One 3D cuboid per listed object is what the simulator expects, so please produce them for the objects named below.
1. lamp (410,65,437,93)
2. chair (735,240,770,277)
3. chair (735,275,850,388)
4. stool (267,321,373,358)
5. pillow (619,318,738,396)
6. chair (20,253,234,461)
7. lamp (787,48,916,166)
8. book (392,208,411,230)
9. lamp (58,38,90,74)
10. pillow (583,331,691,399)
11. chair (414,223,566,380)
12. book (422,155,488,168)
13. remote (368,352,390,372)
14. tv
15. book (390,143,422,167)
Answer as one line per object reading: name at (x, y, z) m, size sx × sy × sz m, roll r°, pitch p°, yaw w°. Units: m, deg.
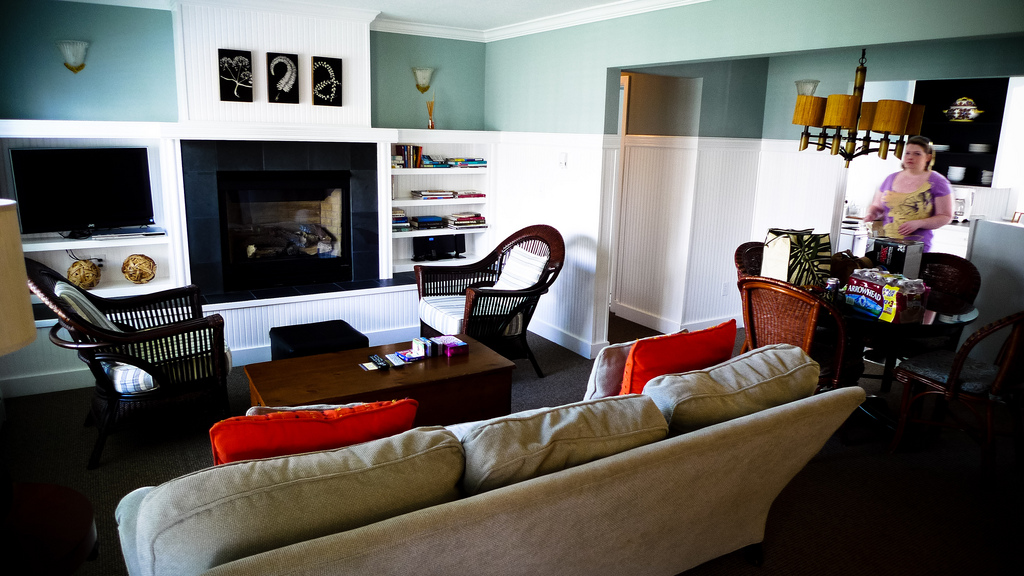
lamp at (-0.967, -2.270, 6.818) m, size 0.270 × 0.225 × 0.254 m, roll 0°, pitch 12°, yaw 13°
chair at (2.095, -0.268, 5.560) m, size 0.380 × 0.360 × 0.315 m, roll 3°, pitch 5°, yaw 25°
chair at (2.046, 0.297, 4.535) m, size 0.701 × 0.800 × 0.668 m, roll -16°, pitch 23°, yaw -35°
stool at (-1.690, 0.418, 5.365) m, size 0.486 × 0.321 × 0.476 m, roll -6°, pitch 15°, yaw -35°
pillow at (1.100, 0.451, 4.118) m, size 0.513 × 0.294 × 0.150 m, roll -7°, pitch 32°, yaw -24°
chair at (-3.005, 0.491, 5.028) m, size 1.533 × 1.325 × 1.205 m, roll -3°, pitch 13°, yaw -31°
lamp at (3.070, -1.573, 5.462) m, size 0.875 × 1.024 × 1.452 m, roll 8°, pitch 18°, yaw 33°
book at (-1.245, -0.767, 6.968) m, size 0.221 × 0.238 × 0.224 m, roll -8°, pitch 17°, yaw -20°
lamp at (-3.797, -2.001, 5.445) m, size 0.289 × 0.261 × 0.276 m, roll 2°, pitch 19°, yaw -6°
pillow at (0.793, 0.503, 4.044) m, size 0.713 × 0.530 × 0.245 m, roll -4°, pitch 13°, yaw -16°
chair at (-0.279, 0.055, 6.596) m, size 1.609 × 1.712 × 1.587 m, roll -4°, pitch 13°, yaw -31°
book at (-0.675, -1.413, 7.029) m, size 0.775 × 0.151 × 0.142 m, roll -8°, pitch 17°, yaw -23°
remote at (-1.012, 0.569, 4.823) m, size 0.095 × 0.041 × 0.196 m, roll -6°, pitch 17°, yaw -30°
tv at (-3.858, -0.854, 5.588) m, size 1.129 × 0.706 × 0.112 m, roll -5°, pitch 12°, yaw -30°
book at (-1.147, -1.412, 6.819) m, size 0.276 × 0.316 × 0.351 m, roll 3°, pitch 5°, yaw 5°
